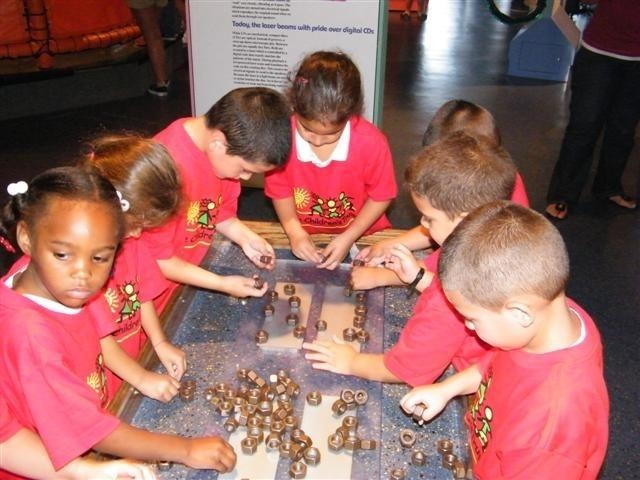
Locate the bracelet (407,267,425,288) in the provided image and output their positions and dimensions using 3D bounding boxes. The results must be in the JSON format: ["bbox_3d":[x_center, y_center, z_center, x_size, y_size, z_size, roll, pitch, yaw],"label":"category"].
[{"bbox_3d":[0.447,0.180,2.335,0.022,0.083,0.082,29,59,-12],"label":"bracelet"}]

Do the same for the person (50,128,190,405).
[{"bbox_3d":[-0.733,0.136,1.893,0.472,1.040,0.325,27,52,-6],"label":"person"}]

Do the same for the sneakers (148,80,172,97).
[{"bbox_3d":[-2.240,-2.115,7.087,0.170,0.184,0.421,-4,25,-15],"label":"sneakers"}]
